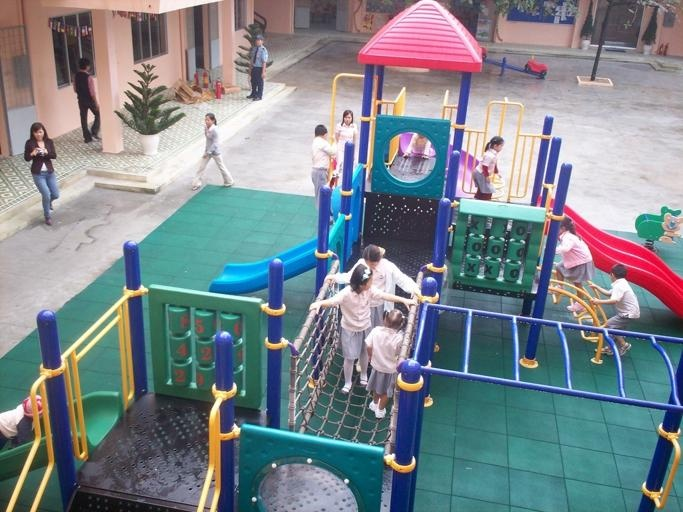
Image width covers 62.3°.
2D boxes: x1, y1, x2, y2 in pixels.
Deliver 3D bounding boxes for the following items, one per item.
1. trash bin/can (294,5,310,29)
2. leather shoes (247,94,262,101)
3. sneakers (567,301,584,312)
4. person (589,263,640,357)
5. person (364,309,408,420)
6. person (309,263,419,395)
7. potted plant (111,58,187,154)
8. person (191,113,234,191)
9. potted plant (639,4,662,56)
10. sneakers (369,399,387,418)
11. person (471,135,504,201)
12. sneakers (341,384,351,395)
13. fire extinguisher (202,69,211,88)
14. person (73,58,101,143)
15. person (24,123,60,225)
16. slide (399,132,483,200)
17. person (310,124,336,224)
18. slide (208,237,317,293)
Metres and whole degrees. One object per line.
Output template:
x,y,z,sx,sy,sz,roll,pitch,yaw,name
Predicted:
-2.105,-13.367,31.484,1.110,1.173,1.122,-10,27,-23,trash bin/can
-2.699,-4.942,17.656,0.485,0.213,0.183,4,58,-6,leather shoes
3.567,0.802,8.592,0.243,0.171,0.118,18,48,30,sneakers
3.889,0.646,8.047,0.657,1.188,1.102,13,21,27,person
0.479,1.238,6.260,0.443,1.405,0.293,14,22,31,person
0.233,0.834,6.237,1.258,1.431,0.453,-11,28,-19,person
-4.411,-3.364,13.104,1.459,1.896,1.796,-1,1,26,potted plant
-2.907,-2.286,12.702,1.304,0.758,2.069,-17,-12,-15,person
15.194,-11.065,27.803,0.611,2.151,0.871,14,22,31,potted plant
0.413,1.762,6.519,0.101,0.122,0.265,7,37,2,sneakers
2.565,-1.565,10.027,0.442,1.204,1.153,7,19,13,person
0.054,1.583,6.681,0.069,0.041,0.119,11,59,13,sneakers
-4.293,-5.587,17.904,0.164,0.500,0.556,0,19,-9,fire extinguisher
-5.821,-3.548,12.912,0.472,1.834,0.672,-6,21,-24,person
-5.162,-1.409,9.772,0.464,1.768,0.688,-7,21,-27,person
1.638,-1.485,9.480,1.426,0.405,1.445,16,61,5,slide
-0.330,-1.604,10.358,0.431,1.550,0.855,2,19,-3,person
-1.090,0.071,8.239,1.784,0.913,0.569,4,26,9,slide
